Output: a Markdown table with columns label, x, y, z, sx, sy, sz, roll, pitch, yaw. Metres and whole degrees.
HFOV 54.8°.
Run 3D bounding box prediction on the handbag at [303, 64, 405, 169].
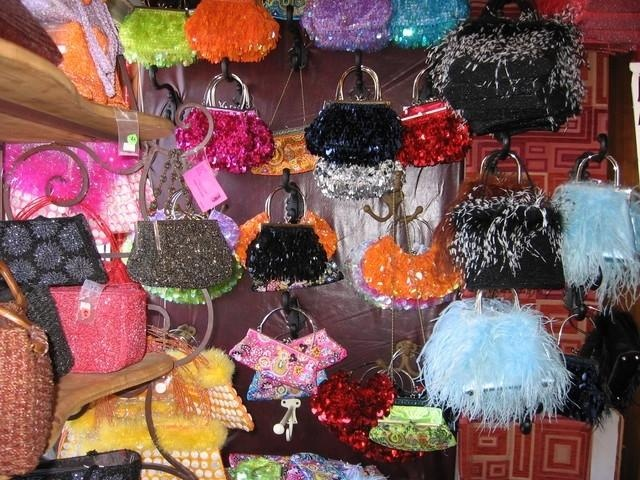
| label | x | y | z | sx | sy | sz | roll | pitch | yaw |
| --- | --- | --- | --- | --- | --- | --- | --- | --- | --- |
| handbag | 0.104 | -0.335 | 1.653 | 0.242 | 0.188 | 0.276 | 1 | 94 | 9 |

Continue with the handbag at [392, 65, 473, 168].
| label | x | y | z | sx | sy | sz | roll | pitch | yaw |
| --- | --- | --- | --- | --- | --- | --- | --- | --- | --- |
| handbag | 0.309 | -0.340 | 1.687 | 0.217 | 0.150 | 0.245 | -2 | 104 | 41 |

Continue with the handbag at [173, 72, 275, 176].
| label | x | y | z | sx | sy | sz | roll | pitch | yaw |
| --- | --- | --- | --- | --- | --- | --- | --- | --- | --- |
| handbag | -0.272 | -0.331 | 1.763 | 0.254 | 0.137 | 0.266 | 10 | 100 | 12 |
